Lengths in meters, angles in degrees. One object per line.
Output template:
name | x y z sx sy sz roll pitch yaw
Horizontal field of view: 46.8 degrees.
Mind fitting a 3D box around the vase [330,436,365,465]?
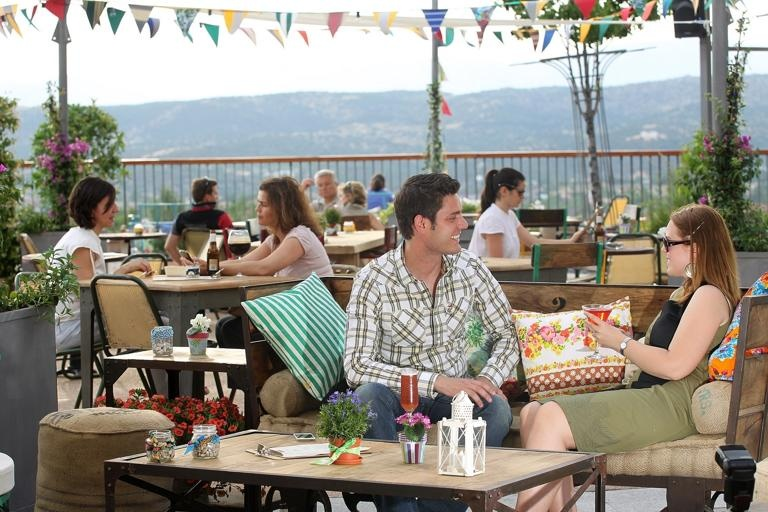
vase | -0.157 0.802 3.672 0.104 0.082 0.109 0 -8 -3

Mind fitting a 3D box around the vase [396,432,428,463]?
vase | 0.117 0.796 3.671 0.098 0.092 0.106 0 -6 -1

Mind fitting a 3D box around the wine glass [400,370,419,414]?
wine glass | 0.107 0.589 3.857 0.076 0.133 0.193 -4 1 -1

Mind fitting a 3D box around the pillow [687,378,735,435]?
pillow | 1.510 0.703 4.096 0.139 0.256 0.254 5 -3 -44

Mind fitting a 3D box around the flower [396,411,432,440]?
flower | 0.126 0.687 3.716 0.139 0.129 0.141 0 -4 1

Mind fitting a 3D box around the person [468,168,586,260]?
person | 1.222 -0.393 7.190 1.016 1.092 0.684 0 13 8

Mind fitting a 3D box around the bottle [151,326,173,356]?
bottle | -1.178 0.459 4.735 0.130 0.149 0.137 0 -2 0

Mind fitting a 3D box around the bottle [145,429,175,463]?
bottle | -0.921 0.788 3.676 0.114 0.121 0.122 1 -7 3

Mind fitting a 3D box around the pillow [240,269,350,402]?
pillow | -0.400 0.402 4.618 0.170 0.567 0.583 -33 -2 29

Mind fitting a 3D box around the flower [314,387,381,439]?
flower | -0.157 0.665 3.754 0.223 0.195 0.219 3 -6 -5

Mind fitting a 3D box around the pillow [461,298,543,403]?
pillow | 0.597 0.503 4.762 0.421 0.468 0.193 5 5 15

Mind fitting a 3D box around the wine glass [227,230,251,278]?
wine glass | -0.953 -0.067 5.990 0.168 0.277 0.173 1 0 4

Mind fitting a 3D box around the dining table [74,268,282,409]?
dining table | -1.293 0.393 5.692 0.943 0.937 0.973 -1 -1 29

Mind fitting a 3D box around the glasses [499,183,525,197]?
glasses | 0.969 -0.512 6.800 0.142 0.089 0.111 0 4 39

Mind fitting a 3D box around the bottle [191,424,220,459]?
bottle | -0.746 0.788 3.762 0.124 0.138 0.128 1 -7 -8

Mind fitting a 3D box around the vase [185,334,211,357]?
vase | -0.991 0.476 4.732 0.112 0.119 0.115 0 -3 -4

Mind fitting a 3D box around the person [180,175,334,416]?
person | -0.736 0.159 5.971 0.689 1.281 0.501 -2 5 -10

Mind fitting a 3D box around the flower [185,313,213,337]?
flower | -1.030 0.378 4.848 0.151 0.162 0.133 -2 -3 16
